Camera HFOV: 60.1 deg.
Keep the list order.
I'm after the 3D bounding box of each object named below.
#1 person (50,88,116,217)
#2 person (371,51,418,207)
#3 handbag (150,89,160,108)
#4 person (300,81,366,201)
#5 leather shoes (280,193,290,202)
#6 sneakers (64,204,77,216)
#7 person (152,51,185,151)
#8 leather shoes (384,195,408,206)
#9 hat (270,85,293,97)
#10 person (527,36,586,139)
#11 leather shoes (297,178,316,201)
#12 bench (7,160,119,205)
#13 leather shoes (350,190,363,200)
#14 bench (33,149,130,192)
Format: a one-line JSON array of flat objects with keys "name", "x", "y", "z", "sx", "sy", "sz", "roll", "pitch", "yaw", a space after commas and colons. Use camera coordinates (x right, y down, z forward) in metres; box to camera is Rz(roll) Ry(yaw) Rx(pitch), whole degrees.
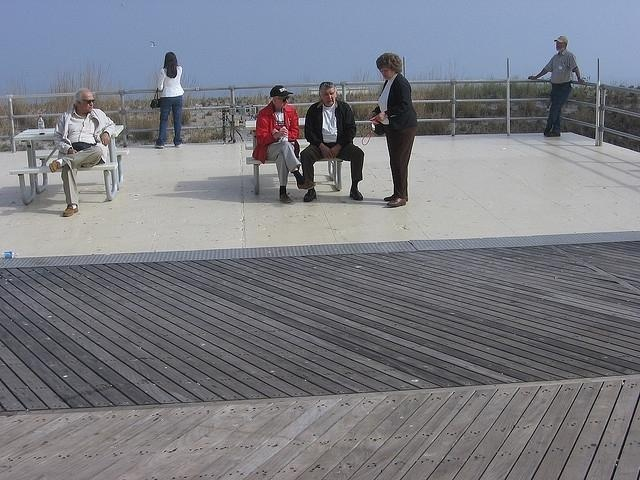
[{"name": "person", "x": -3.255, "y": -1.178, "z": 7.181, "sx": 0.796, "sy": 1.516, "sz": 0.957, "roll": -7, "pitch": 14, "yaw": -21}, {"name": "person", "x": 0.877, "y": -1.391, "z": 7.020, "sx": 0.467, "sy": 1.876, "sz": 0.536, "roll": -12, "pitch": 16, "yaw": -38}, {"name": "handbag", "x": -3.840, "y": -3.060, "z": 11.992, "sx": 0.194, "sy": 0.378, "sz": 0.435, "roll": -5, "pitch": 14, "yaw": -17}, {"name": "person", "x": 0.071, "y": -1.332, "z": 7.420, "sx": 0.872, "sy": 1.545, "sz": 0.788, "roll": -1, "pitch": 13, "yaw": 0}, {"name": "leather shoes", "x": -0.557, "y": -0.555, "z": 7.304, "sx": 0.145, "sy": 0.105, "sz": 0.144, "roll": -3, "pitch": 14, "yaw": -6}, {"name": "sneakers", "x": -3.267, "y": -0.361, "z": 6.822, "sx": 0.076, "sy": 0.089, "sz": 0.226, "roll": 0, "pitch": 9, "yaw": -1}, {"name": "person", "x": -3.548, "y": -3.027, "z": 12.046, "sx": 0.717, "sy": 2.027, "sz": 1.375, "roll": -5, "pitch": 14, "yaw": -16}, {"name": "leather shoes", "x": 0.956, "y": -0.507, "z": 7.078, "sx": 0.337, "sy": 0.140, "sz": 0.123, "roll": 0, "pitch": 10, "yaw": -30}, {"name": "hat", "x": -0.648, "y": -1.998, "z": 7.423, "sx": 0.258, "sy": 0.144, "sz": 0.340, "roll": -3, "pitch": 14, "yaw": -7}, {"name": "person", "x": 5.356, "y": -3.382, "z": 12.306, "sx": 0.930, "sy": 2.124, "sz": 0.689, "roll": 3, "pitch": 14, "yaw": 21}, {"name": "leather shoes", "x": -0.257, "y": -0.664, "z": 7.311, "sx": 0.246, "sy": 0.300, "sz": 0.296, "roll": -2, "pitch": 13, "yaw": -2}, {"name": "bench", "x": -3.866, "y": -0.836, "z": 7.678, "sx": 1.019, "sy": 0.349, "sz": 1.202, "roll": 0, "pitch": 22, "yaw": 4}, {"name": "leather shoes", "x": 0.410, "y": -0.603, "z": 7.379, "sx": 0.201, "sy": 0.134, "sz": 0.127, "roll": 4, "pitch": 14, "yaw": 19}, {"name": "bench", "x": -3.638, "y": -0.993, "z": 7.728, "sx": 1.125, "sy": 0.366, "sz": 1.018, "roll": 1, "pitch": 23, "yaw": 1}]
